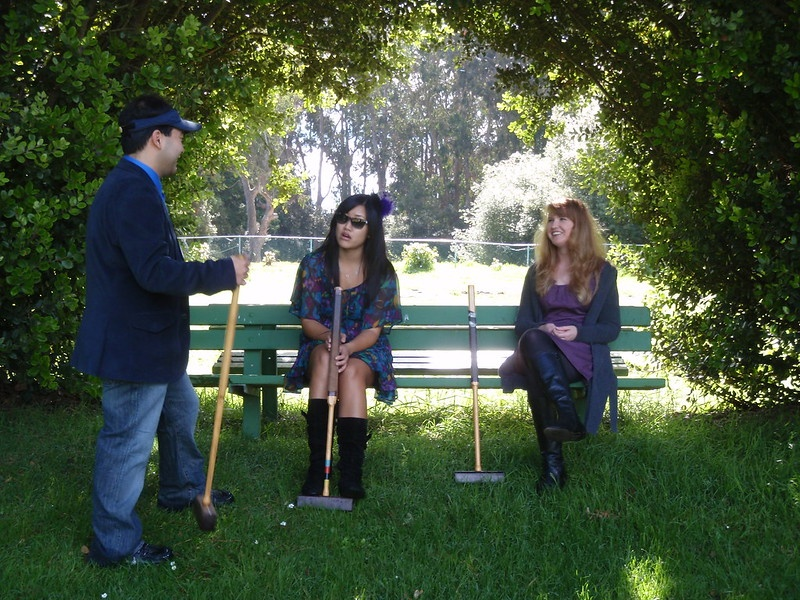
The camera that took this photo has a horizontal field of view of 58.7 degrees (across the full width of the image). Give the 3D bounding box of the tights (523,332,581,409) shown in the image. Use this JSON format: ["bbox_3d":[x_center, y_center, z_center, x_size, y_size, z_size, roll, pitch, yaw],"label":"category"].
[{"bbox_3d":[1.011,0.480,4.993,0.265,0.654,0.169,-13,-19,-28],"label":"tights"}]

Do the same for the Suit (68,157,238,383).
[{"bbox_3d":[-1.389,-0.155,3.962,0.733,1.151,0.400,3,0,-29],"label":"Suit"}]

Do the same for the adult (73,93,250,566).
[{"bbox_3d":[-1.377,0.210,4.297,0.870,2.599,1.015,6,9,21],"label":"adult"}]

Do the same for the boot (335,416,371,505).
[{"bbox_3d":[-0.310,1.041,4.694,0.205,0.519,0.325,3,0,-11],"label":"boot"}]

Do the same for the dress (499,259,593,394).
[{"bbox_3d":[1.162,0.260,5.419,0.940,1.217,0.624,0,-11,13],"label":"dress"}]

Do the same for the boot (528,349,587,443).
[{"bbox_3d":[1.085,0.645,4.894,0.402,0.752,0.219,1,-40,5],"label":"boot"}]

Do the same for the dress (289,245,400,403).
[{"bbox_3d":[-0.467,0.140,5.454,0.809,1.234,0.972,4,6,-2],"label":"dress"}]

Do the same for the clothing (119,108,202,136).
[{"bbox_3d":[-1.344,-0.990,4.030,0.297,0.107,0.191,-8,6,-16],"label":"clothing"}]

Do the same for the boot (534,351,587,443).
[{"bbox_3d":[1.093,0.642,4.853,0.311,0.624,0.597,3,0,11],"label":"boot"}]
